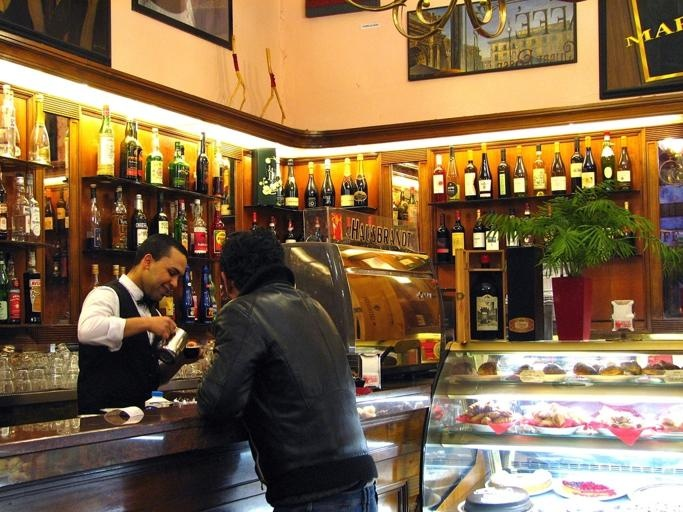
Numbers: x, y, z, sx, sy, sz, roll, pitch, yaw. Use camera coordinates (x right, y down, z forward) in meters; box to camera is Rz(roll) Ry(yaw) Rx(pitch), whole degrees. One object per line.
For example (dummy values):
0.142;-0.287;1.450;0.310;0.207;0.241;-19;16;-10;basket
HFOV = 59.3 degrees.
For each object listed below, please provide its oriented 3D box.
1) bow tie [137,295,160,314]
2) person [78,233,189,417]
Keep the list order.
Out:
-1.031;0.253;3.187;0.117;0.034;0.086;31;-10;8;bow tie
-0.981;0.317;3.003;0.648;0.861;0.507;-4;-2;23;person
